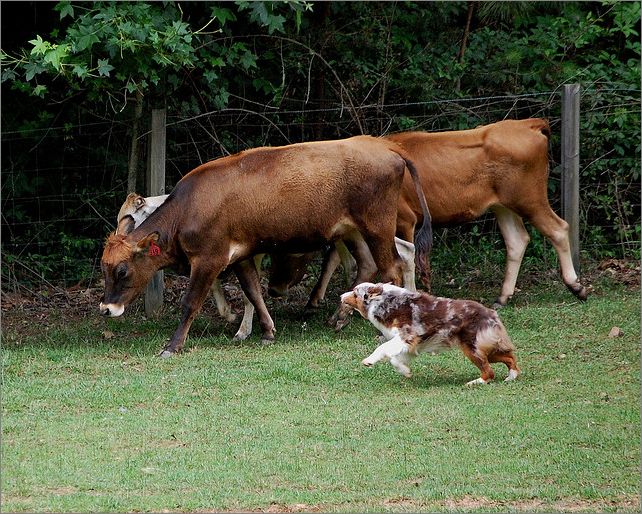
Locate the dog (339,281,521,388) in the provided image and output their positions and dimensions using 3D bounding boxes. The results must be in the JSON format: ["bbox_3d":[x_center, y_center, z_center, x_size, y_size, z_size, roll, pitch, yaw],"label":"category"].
[{"bbox_3d":[0.844,0.602,6.072,1.568,0.899,0.573,7,0,19],"label":"dog"}]
